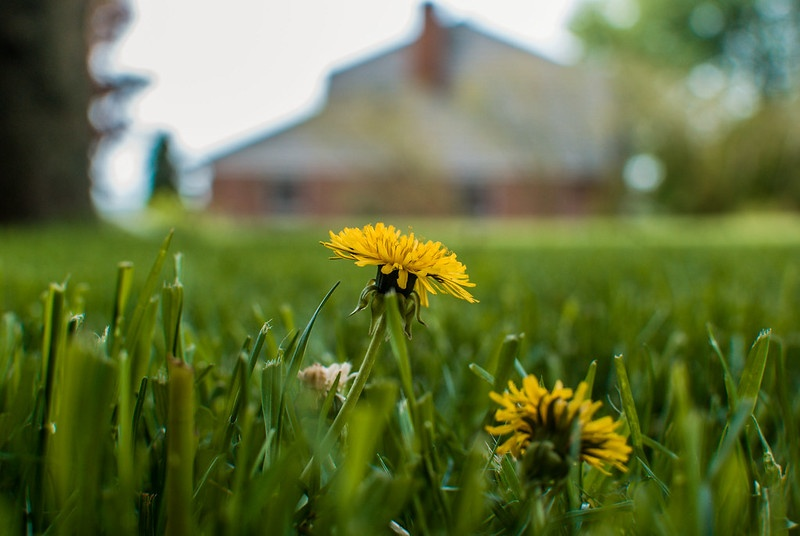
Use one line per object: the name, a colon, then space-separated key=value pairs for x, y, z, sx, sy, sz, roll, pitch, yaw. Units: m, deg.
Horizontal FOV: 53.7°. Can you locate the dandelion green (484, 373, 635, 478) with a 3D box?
dandelion green: x=0.192 y=0.199 z=0.995 sx=0.177 sy=0.126 sz=0.123 roll=2 pitch=-12 yaw=-7

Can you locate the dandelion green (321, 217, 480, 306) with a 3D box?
dandelion green: x=-0.006 y=-0.005 z=1.087 sx=0.187 sy=0.097 sz=0.215 roll=9 pitch=-10 yaw=-24
